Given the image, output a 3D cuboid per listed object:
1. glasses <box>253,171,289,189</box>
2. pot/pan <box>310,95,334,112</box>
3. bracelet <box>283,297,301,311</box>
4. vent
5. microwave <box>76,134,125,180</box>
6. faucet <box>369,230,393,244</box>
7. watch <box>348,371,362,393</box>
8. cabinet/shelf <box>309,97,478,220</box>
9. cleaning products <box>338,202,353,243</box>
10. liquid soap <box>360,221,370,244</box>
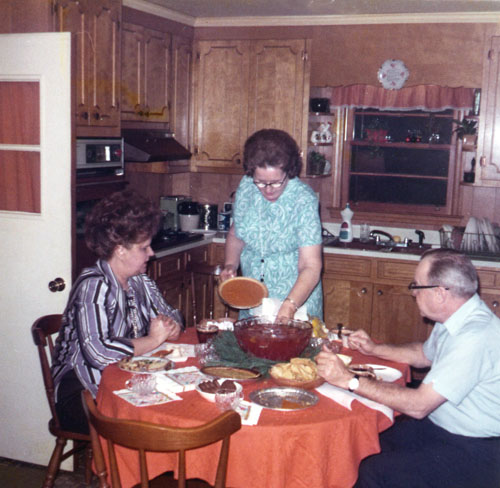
[{"bbox_3d":[0.087,-0.274,2.207,0.135,0.070,0.064,2,7,-2],"label":"glasses"},{"bbox_3d":[0.633,-1.240,4.506,0.171,0.125,0.157,1,1,7],"label":"pot/pan"},{"bbox_3d":[0.171,0.238,2.014,0.046,0.021,0.054,36,-14,-1],"label":"bracelet"},{"bbox_3d":[-0.748,-0.781,3.982,0.271,0.277,0.719,4,8,16],"label":"vent"},{"bbox_3d":[-0.895,-0.529,3.005,0.168,0.228,0.352,3,4,15],"label":"microwave"},{"bbox_3d":[1.188,-0.078,4.529,0.221,0.102,0.334,3,7,11],"label":"faucet"},{"bbox_3d":[0.323,0.424,1.549,0.032,0.052,0.051,-1,46,20],"label":"watch"},{"bbox_3d":[1.345,-0.811,4.564,1.136,1.066,0.369,3,6,9],"label":"cabinet/shelf"},{"bbox_3d":[0.879,-0.199,4.569,0.125,0.325,0.460,3,7,10],"label":"cleaning products"},{"bbox_3d":[1.033,-0.097,4.496,0.085,0.142,0.209,4,8,13],"label":"liquid soap"}]
